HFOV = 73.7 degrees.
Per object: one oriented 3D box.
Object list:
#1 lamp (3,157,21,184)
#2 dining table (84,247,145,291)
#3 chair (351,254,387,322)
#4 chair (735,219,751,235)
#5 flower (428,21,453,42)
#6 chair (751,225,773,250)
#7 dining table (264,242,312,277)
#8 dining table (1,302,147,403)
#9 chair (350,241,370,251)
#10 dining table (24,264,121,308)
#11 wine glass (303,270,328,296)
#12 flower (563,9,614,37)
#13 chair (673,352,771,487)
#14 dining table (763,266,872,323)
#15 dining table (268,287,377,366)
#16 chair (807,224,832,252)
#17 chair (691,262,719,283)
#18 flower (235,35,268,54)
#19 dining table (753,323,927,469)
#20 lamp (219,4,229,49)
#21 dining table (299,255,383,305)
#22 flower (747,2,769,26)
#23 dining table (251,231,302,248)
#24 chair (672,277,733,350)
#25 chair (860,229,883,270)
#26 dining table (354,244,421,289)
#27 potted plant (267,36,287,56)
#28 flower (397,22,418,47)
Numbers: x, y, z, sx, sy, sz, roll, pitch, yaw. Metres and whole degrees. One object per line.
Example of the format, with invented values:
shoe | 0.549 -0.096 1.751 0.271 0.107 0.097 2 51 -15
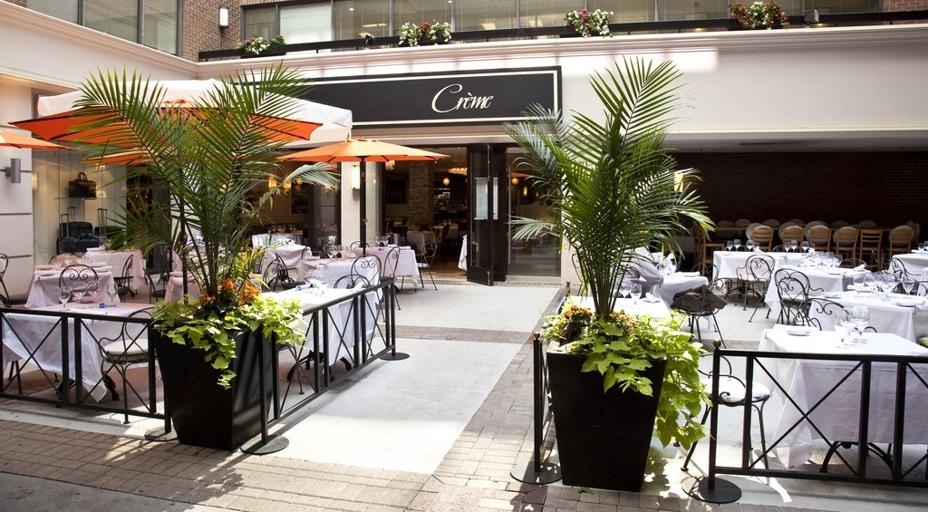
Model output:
lamp | -8.873 -1.684 12.226 0.175 0.481 0.354 3 5 43
dining table | -6.451 0.230 11.447 0.973 0.528 0.910 1 -4 -4
chair | -1.720 0.509 11.731 0.791 1.065 0.835 1 4 -6
chair | 7.681 -0.806 17.267 0.354 0.435 1.518 1 3 23
flower | -0.611 -5.316 14.765 0.557 0.360 0.533 -10 17 -33
chair | 7.467 -0.461 15.752 0.454 0.658 0.893 1 4 24
dining table | -4.009 0.024 13.971 1.113 0.495 1.051 -5 8 -22
dining table | -4.945 1.104 8.049 1.517 0.737 1.440 1 -1 8
chair | -2.426 -0.212 14.164 0.397 0.168 0.439 -1 -2 -43
dining table | -6.449 0.477 10.433 1.324 0.557 1.329 -4 -5 43
wine glass | -2.355 0.439 9.883 0.358 0.472 0.323 0 4 7
flower | 2.784 -5.237 13.962 0.957 0.747 0.375 13 12 13
chair | 2.978 1.877 7.032 0.871 1.159 0.828 6 -11 27
dining table | 6.247 0.632 11.186 1.144 0.564 1.002 2 -1 43
dining table | -2.029 0.922 8.603 1.264 0.839 1.224 4 4 26
chair | 8.565 -0.420 15.095 0.664 0.748 0.711 3 16 23
chair | 5.174 0.368 13.403 0.388 0.498 0.380 2 22 18
flower | -5.325 -5.317 15.726 0.849 0.426 0.211 0 4 16
dining table | 4.132 1.490 6.946 1.739 0.853 1.642 0 2 17
lamp | -6.781 -6.517 17.568 0.320 1.166 0.377 -1 4 -6
dining table | -2.196 0.375 11.334 1.182 0.571 1.111 0 -4 -1
flower | 6.376 -5.302 13.523 0.460 0.541 0.461 4 18 26
dining table | -3.995 -0.354 13.236 0.922 0.203 0.885 1 0 11
chair | 3.696 0.929 9.992 0.826 0.746 0.756 6 2 18
chair | 10.007 -0.165 15.396 0.497 1.000 1.145 2 4 32
dining table | -1.462 0.182 13.681 1.258 0.657 1.149 0 -4 11
potted plant | -4.709 -5.318 15.754 0.503 0.428 0.490 3 8 28
flower | -1.317 -5.317 14.977 0.656 0.597 0.381 4 22 1
